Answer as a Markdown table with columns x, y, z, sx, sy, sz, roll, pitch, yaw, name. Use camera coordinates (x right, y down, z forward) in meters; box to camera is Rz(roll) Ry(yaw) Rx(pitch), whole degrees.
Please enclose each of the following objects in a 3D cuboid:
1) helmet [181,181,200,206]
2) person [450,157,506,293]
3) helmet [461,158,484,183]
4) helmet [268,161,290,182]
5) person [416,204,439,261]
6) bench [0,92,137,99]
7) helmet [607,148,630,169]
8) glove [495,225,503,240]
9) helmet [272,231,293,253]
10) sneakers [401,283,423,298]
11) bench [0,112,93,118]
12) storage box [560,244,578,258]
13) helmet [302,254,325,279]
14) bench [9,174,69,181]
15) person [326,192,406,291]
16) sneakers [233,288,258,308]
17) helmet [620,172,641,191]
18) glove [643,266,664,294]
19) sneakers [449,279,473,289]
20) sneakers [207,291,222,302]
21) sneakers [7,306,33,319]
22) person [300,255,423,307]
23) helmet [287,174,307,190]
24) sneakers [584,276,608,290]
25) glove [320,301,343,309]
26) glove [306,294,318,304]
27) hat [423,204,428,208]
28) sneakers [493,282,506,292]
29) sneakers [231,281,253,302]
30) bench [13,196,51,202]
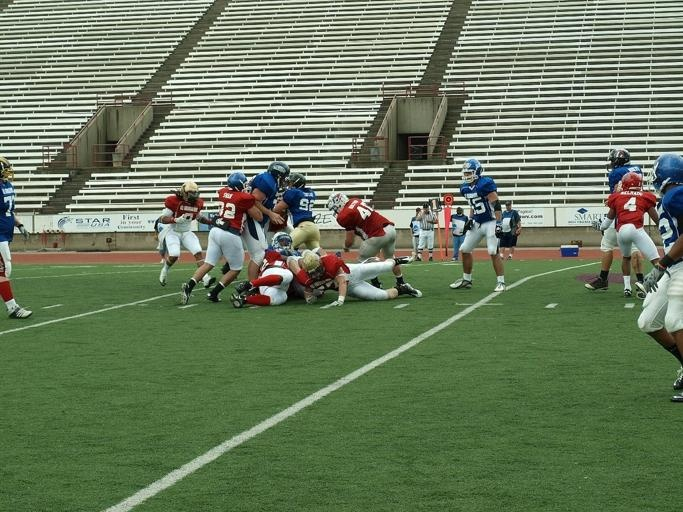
| x | y | z | sx | sy | sz | roll | pitch | yaw | name |
| --- | --- | --- | --- | --- | --- | --- | --- | --- | --- |
| -2.328 | -0.961 | 13.556 | 0.349 | 0.328 | 0.268 | -2 | 17 | 1 | helmet |
| 2.074 | -0.466 | 13.621 | 0.783 | 1.962 | 1.558 | 0 | 7 | 8 | person |
| 1.889 | -1.239 | 13.132 | 0.362 | 0.317 | 0.291 | -9 | 5 | -40 | helmet |
| -0.900 | -1.238 | 12.805 | 0.301 | 0.218 | 0.269 | -8 | -32 | -13 | helmet |
| 2.020 | -0.521 | 21.383 | 0.438 | 1.341 | 1.190 | 0 | 7 | 6 | person |
| -10.286 | -5.962 | 33.855 | 5.239 | 0.396 | 0.717 | 1 | 7 | 12 | bench |
| 3.848 | -1.352 | 12.578 | 0.330 | 0.282 | 0.267 | 5 | 6 | 17 | helmet |
| 2.236 | -0.337 | 13.103 | 0.162 | 0.207 | 0.057 | -13 | 10 | -27 | glove |
| -0.776 | -0.182 | 12.229 | 0.251 | 0.260 | 0.293 | 13 | -3 | -41 | helmet |
| 0.978 | 0.479 | 12.535 | 0.410 | 0.174 | 0.134 | 3 | 7 | -24 | sneakers |
| -10.814 | -5.191 | 33.042 | 3.699 | 0.257 | 0.444 | 1 | 7 | 10 | bench |
| 5.450 | -0.113 | 21.700 | 0.326 | 0.189 | 0.321 | 1 | 8 | 14 | storage box |
| -0.357 | 0.144 | 11.485 | 0.261 | 0.384 | 0.443 | -1 | 7 | -2 | helmet |
| -9.945 | -2.600 | 30.124 | 1.618 | 0.232 | 0.360 | -1 | 2 | -4 | bench |
| 0.363 | -0.192 | 13.059 | 1.007 | 1.517 | 0.726 | -7 | 8 | 21 | person |
| -1.304 | 0.556 | 11.841 | 0.222 | 0.139 | 0.456 | -14 | 7 | -23 | sneakers |
| 3.664 | -0.930 | 11.412 | 0.214 | 0.206 | 0.258 | 1 | 5 | -5 | helmet |
| 2.373 | 0.185 | 6.939 | 0.113 | 0.193 | 0.062 | 27 | -1 | 2 | glove |
| 1.805 | 0.423 | 13.610 | 0.368 | 0.149 | 0.126 | 0 | 8 | -4 | sneakers |
| -1.741 | 0.573 | 12.403 | 0.262 | 0.113 | 0.081 | -1 | 9 | -1 | sneakers |
| -3.836 | 0.690 | 10.903 | 0.323 | 0.149 | 0.114 | 1 | 9 | 3 | sneakers |
| 0.273 | 0.318 | 12.039 | 1.807 | 0.685 | 0.885 | 0 | -15 | -28 | person |
| -0.653 | -1.075 | 13.026 | 0.266 | 0.191 | 0.246 | 13 | -14 | -17 | helmet |
| 3.561 | 0.404 | 12.795 | 0.379 | 0.197 | 0.153 | 1 | -1 | 17 | sneakers |
| -0.115 | 0.597 | 11.652 | 0.277 | 0.125 | 0.384 | 0 | 7 | 1 | glove |
| -0.395 | 0.566 | 11.863 | 0.141 | 0.092 | 0.182 | 0 | 1 | 1 | glove |
| 1.996 | -1.193 | 21.537 | 0.108 | 0.076 | 0.107 | 1 | -1 | 13 | hat |
| 2.314 | 0.465 | 13.276 | 0.120 | 0.122 | 0.325 | -4 | -4 | 17 | sneakers |
| -1.314 | 0.460 | 11.908 | 0.185 | 0.133 | 0.400 | -17 | 1 | -15 | sneakers |
| -9.894 | -1.835 | 29.311 | 1.248 | 0.166 | 0.285 | -1 | 2 | 2 | bench |
